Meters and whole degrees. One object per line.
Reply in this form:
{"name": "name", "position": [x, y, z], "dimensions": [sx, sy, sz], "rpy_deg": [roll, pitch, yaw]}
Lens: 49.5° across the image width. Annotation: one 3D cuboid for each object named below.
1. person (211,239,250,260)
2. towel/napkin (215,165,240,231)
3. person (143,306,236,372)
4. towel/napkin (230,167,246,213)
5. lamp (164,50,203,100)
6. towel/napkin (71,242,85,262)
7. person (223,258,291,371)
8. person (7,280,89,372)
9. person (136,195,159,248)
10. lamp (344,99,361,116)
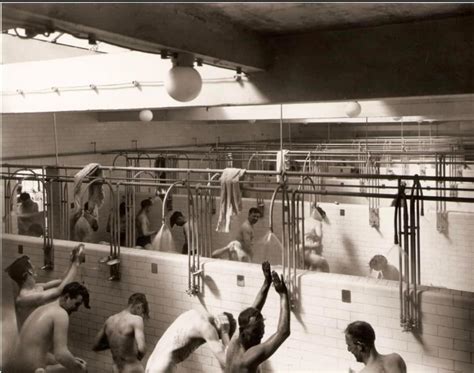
{"name": "person", "position": [-0.066, 0.855, 7.132], "dimensions": [0.529, 0.292, 0.821], "rpy_deg": [2, -1, 3]}
{"name": "towel/napkin", "position": [-0.055, 0.072, 5.523], "dimensions": [0.200, 0.545, 0.092], "rpy_deg": [-9, 37, -8]}
{"name": "person", "position": [-0.436, 1.420, 5.084], "dimensions": [0.740, 0.630, 0.581], "rpy_deg": [-7, 8, -29]}
{"name": "towel/napkin", "position": [-0.008, 0.059, 5.494], "dimensions": [0.113, 0.364, 0.050], "rpy_deg": [-15, 10, -20]}
{"name": "lamp", "position": [-0.447, -0.925, 4.263], "dimensions": [0.306, 0.413, 0.327], "rpy_deg": [0, 4, -2]}
{"name": "towel/napkin", "position": [-1.856, 0.788, 6.159], "dimensions": [0.148, 0.222, 0.225], "rpy_deg": [-1, -17, -2]}
{"name": "person", "position": [0.175, 1.197, 4.639], "dimensions": [0.553, 1.057, 0.633], "rpy_deg": [2, -1, -1]}
{"name": "person", "position": [-2.048, 1.541, 5.631], "dimensions": [0.823, 0.770, 0.530], "rpy_deg": [3, -2, -24]}
{"name": "person", "position": [-1.531, 0.609, 8.757], "dimensions": [0.274, 0.880, 0.329], "rpy_deg": [-13, 36, -21]}
{"name": "lamp", "position": [1.700, -1.185, 7.599], "dimensions": [0.214, 0.210, 0.696], "rpy_deg": [2, -1, 12]}
